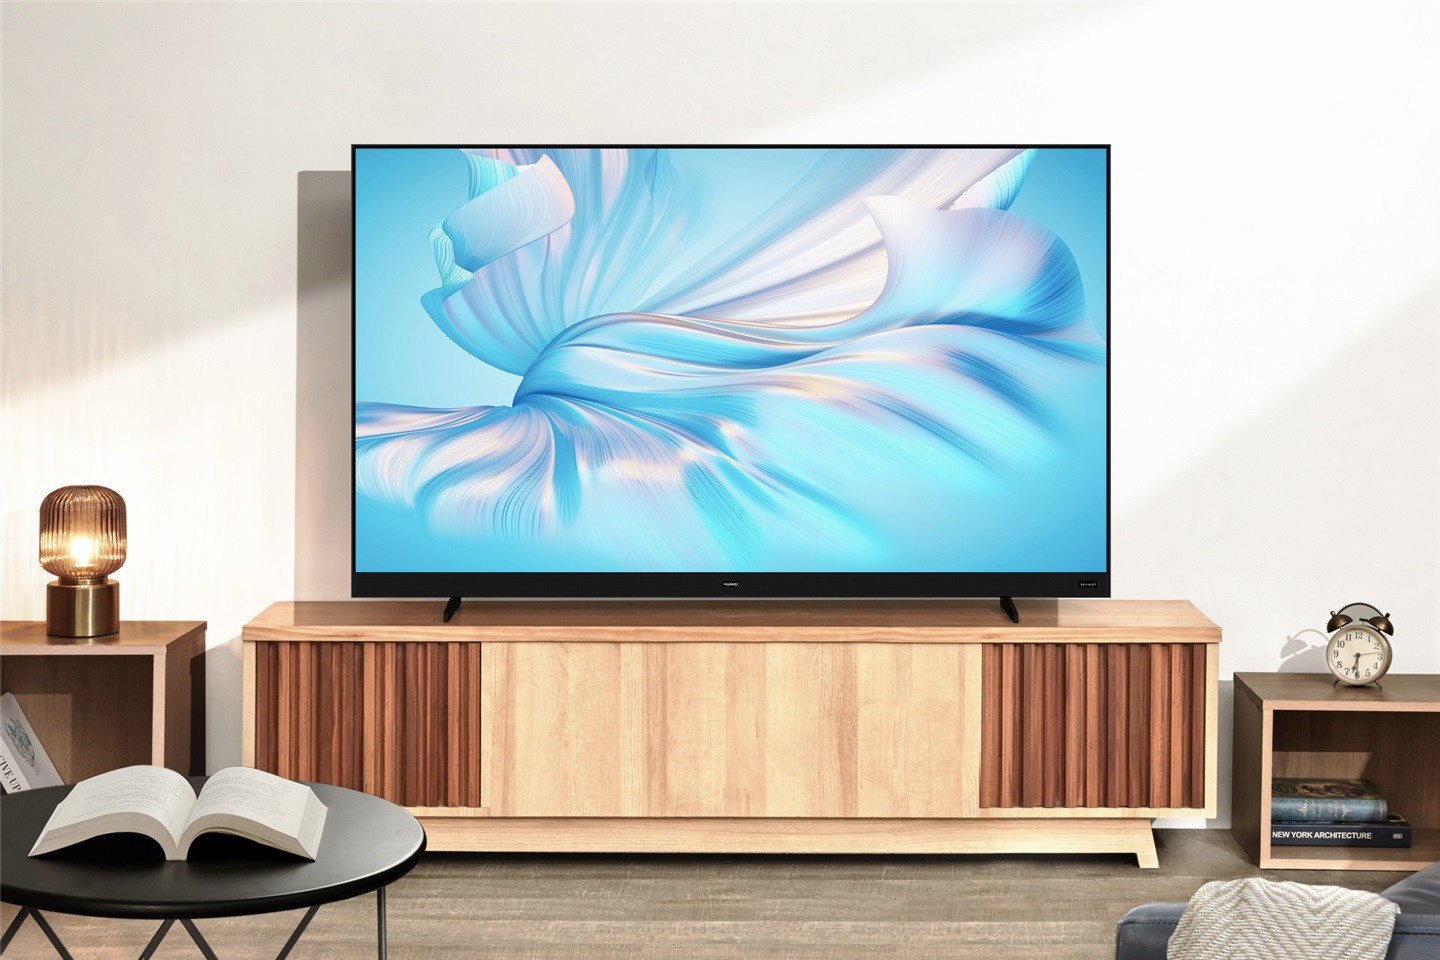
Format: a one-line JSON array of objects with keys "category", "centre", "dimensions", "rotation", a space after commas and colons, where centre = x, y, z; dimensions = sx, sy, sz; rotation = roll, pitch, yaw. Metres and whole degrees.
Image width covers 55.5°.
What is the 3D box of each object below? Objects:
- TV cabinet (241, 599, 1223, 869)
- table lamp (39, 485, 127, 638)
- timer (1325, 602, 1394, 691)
[{"category": "TV cabinet", "centre": [0.065, 0.873, 4.534], "dimensions": [3.139, 0.838, 0.153], "rotation": [0, -3, 0]}, {"category": "table lamp", "centre": [-2.146, 0.276, 4.622], "dimensions": [0.260, 0.517, 0.145], "rotation": [2, -3, -28]}, {"category": "timer", "centre": [2.174, 0.580, 4.648], "dimensions": [0.278, 0.367, 0.138], "rotation": [-1, -5, 24]}]
